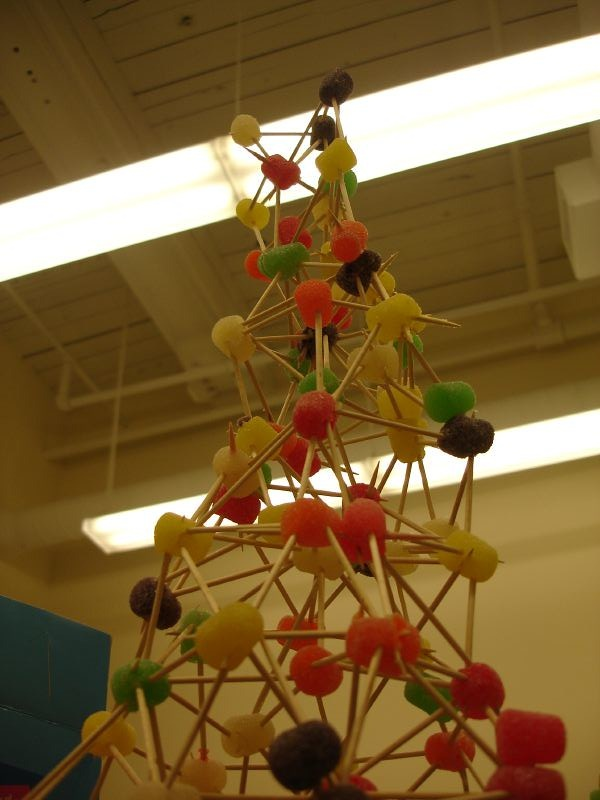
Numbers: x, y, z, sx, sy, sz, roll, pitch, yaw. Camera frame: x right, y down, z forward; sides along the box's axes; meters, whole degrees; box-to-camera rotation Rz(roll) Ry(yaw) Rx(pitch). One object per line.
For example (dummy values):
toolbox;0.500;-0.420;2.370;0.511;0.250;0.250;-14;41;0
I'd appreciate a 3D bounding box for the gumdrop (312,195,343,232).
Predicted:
gumdrop;0.046;-0.336;1.644;0.070;0.073;0.025;-3;-3;12

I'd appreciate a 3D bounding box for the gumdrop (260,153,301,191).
gumdrop;-0.035;-0.419;1.653;0.077;0.038;0.071;-2;-52;33

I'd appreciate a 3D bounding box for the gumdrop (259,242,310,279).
gumdrop;-0.024;-0.234;1.521;0.070;0.036;0.073;-8;-7;-19
